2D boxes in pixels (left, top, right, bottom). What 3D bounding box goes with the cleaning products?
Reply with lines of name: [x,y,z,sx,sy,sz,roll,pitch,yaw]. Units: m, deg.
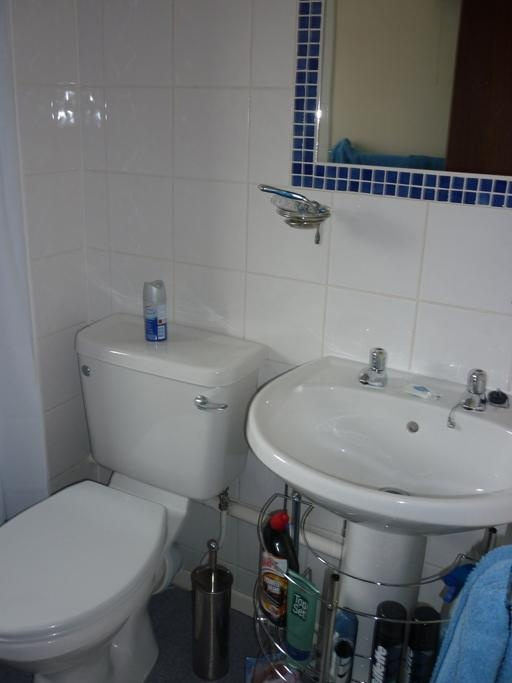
cleaning products: [0.042,0.516,1.206,0.085,0.254,0.069,19,26,33]

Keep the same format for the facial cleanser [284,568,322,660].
facial cleanser: [0.092,0.595,1.123,0.081,0.187,0.039,9,5,31]
